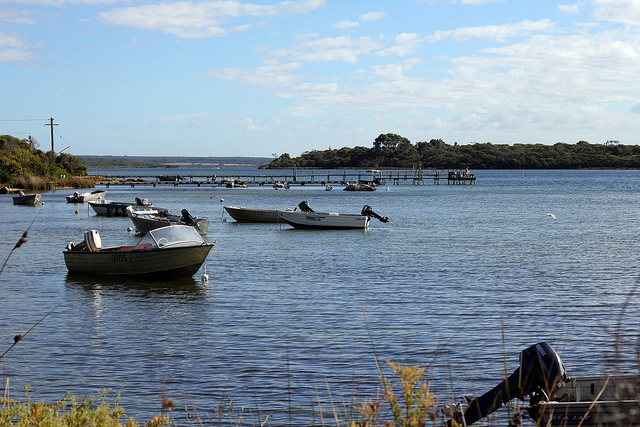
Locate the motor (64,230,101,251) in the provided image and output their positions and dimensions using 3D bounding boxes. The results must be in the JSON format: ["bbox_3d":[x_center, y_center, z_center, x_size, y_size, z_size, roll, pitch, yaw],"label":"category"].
[{"bbox_3d":[-9.574,1.216,37.700,1.454,0.706,0.751,-13,-32,19],"label":"motor"}]

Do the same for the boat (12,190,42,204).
[{"bbox_3d":[-24.111,-1.381,77.441,3.337,0.963,1.227,-3,2,45],"label":"boat"}]

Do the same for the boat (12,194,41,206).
[{"bbox_3d":[-24.441,-1.151,77.761,2.847,0.676,1.259,-3,-1,33],"label":"boat"}]

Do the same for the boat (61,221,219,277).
[{"bbox_3d":[-7.307,1.547,37.594,6.909,1.861,2.340,1,2,30],"label":"boat"}]

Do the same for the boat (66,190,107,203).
[{"bbox_3d":[-20.817,-1.468,84.156,1.368,0.869,5.132,6,8,18],"label":"boat"}]

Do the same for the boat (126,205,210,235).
[{"bbox_3d":[-8.850,0.378,53.482,4.278,1.030,1.714,-10,21,-32],"label":"boat"}]

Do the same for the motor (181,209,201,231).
[{"bbox_3d":[-6.922,0.412,51.177,0.647,1.658,0.479,2,52,48],"label":"motor"}]

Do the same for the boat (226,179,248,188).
[{"bbox_3d":[-12.733,-4.549,141.689,3.177,0.920,3.083,6,1,-3],"label":"boat"}]

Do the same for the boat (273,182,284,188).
[{"bbox_3d":[-5.958,-4.078,132.955,1.637,0.439,1.382,2,10,-4],"label":"boat"}]
